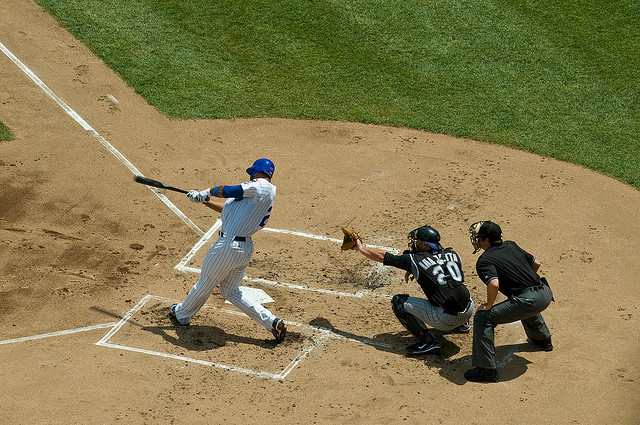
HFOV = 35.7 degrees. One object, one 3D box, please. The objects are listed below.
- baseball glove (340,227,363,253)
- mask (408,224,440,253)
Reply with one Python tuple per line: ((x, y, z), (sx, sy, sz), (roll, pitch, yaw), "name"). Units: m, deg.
((0.540, 0.502, 18.934), (0.284, 0.630, 0.390), (-3, 66, -11), "baseball glove")
((1.975, 0.544, 19.041), (0.478, 0.620, 0.497), (-1, 65, -9), "mask")
